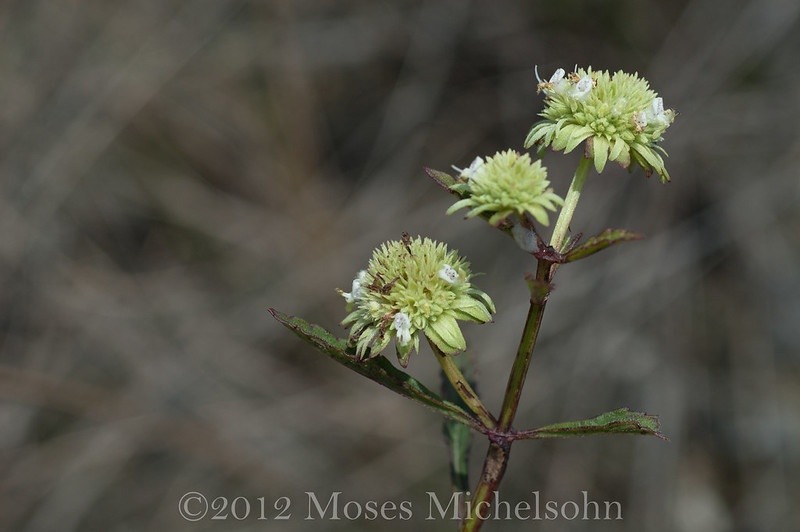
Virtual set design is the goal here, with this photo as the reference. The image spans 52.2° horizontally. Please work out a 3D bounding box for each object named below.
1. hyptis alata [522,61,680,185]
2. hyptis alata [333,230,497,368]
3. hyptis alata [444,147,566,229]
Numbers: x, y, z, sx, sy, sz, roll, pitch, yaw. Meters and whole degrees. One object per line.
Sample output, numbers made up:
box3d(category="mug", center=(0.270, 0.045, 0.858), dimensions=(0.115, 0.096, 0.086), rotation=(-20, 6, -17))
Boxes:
box3d(category="hyptis alata", center=(1.036, -0.629, 3.839), dimensions=(0.655, 0.656, 0.298), rotation=(4, 92, -36))
box3d(category="hyptis alata", center=(0.070, 0.145, 3.744), dimensions=(0.580, 0.445, 0.607), rotation=(-25, 44, -20))
box3d(category="hyptis alata", center=(0.511, -0.358, 3.686), dimensions=(0.469, 0.510, 0.334), rotation=(-9, 97, -5))
